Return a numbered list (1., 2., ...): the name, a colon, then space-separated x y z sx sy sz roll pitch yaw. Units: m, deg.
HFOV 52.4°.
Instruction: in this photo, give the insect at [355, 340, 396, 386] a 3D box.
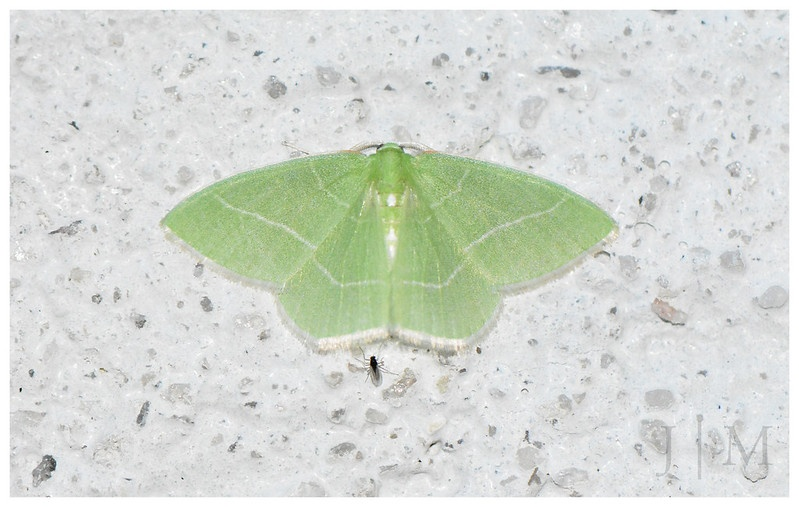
1. insect: -0.213 0.856 6.140 0.306 0.097 0.329 -12 98 9
